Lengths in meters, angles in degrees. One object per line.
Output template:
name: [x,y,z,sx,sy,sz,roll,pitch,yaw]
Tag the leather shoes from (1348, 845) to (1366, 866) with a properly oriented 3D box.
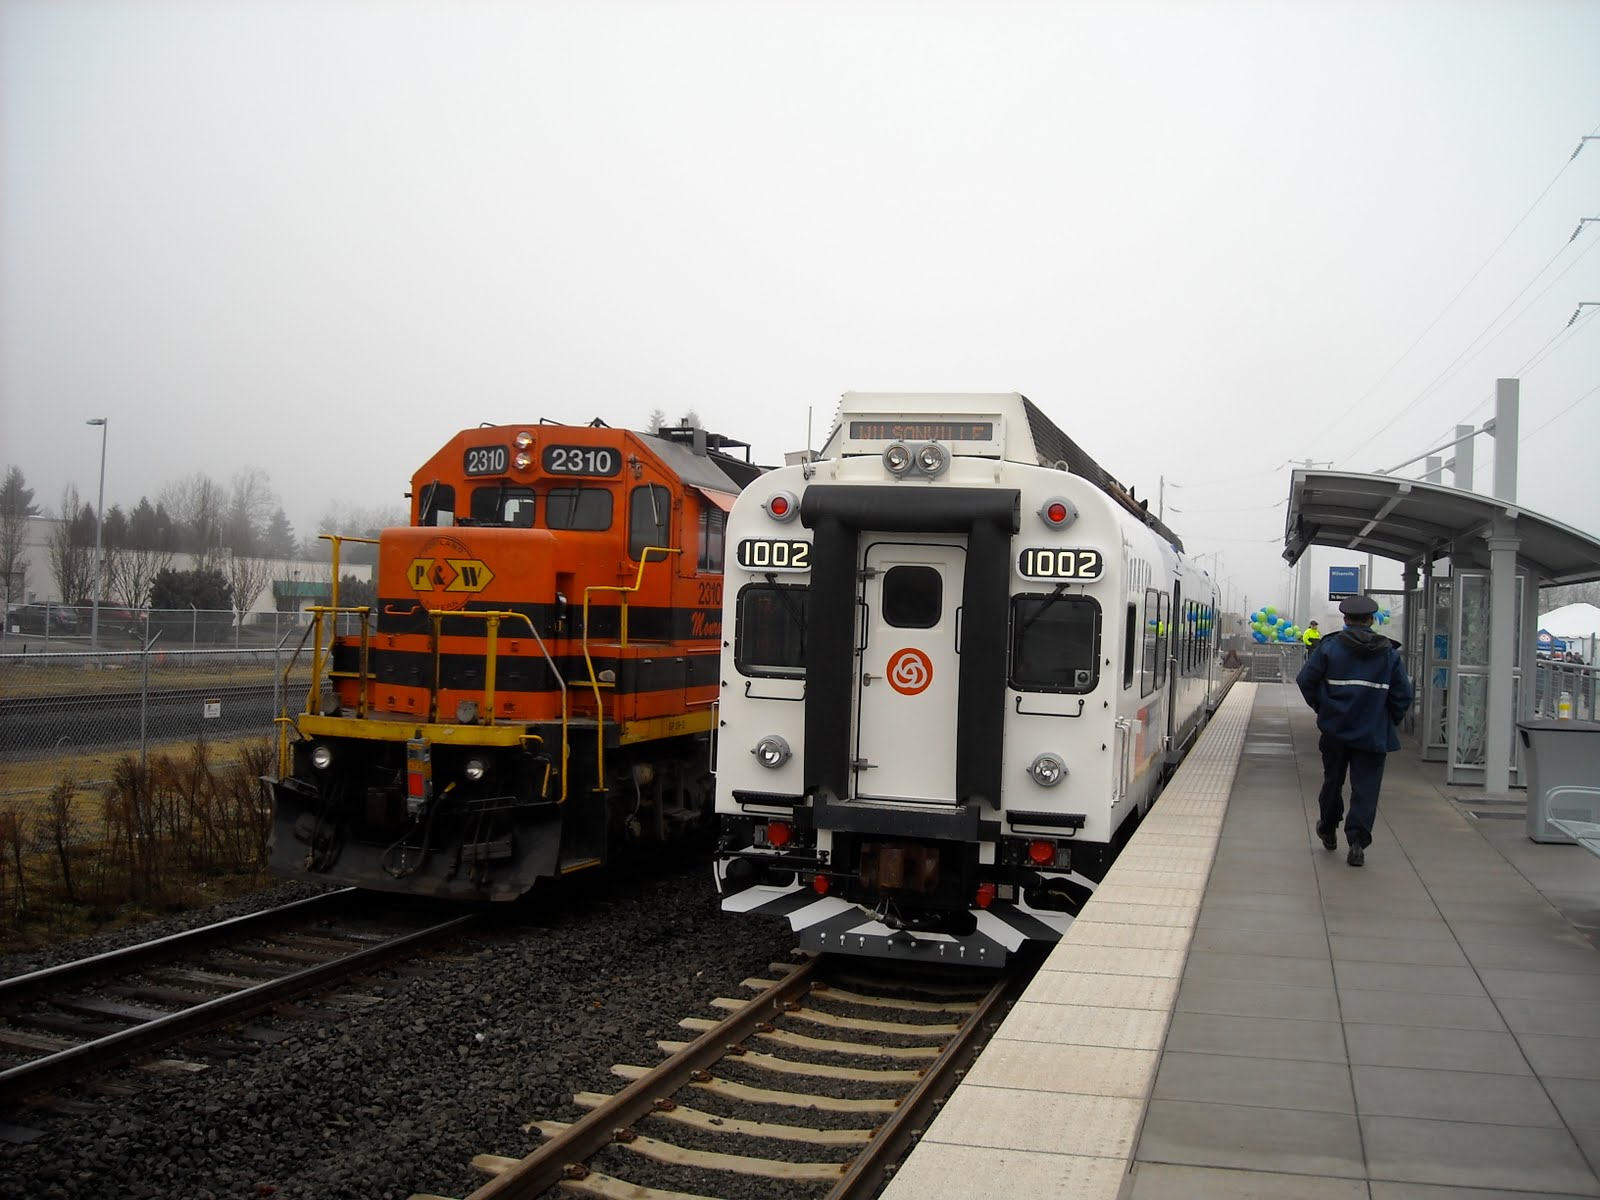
leather shoes: [4.876,2.229,9.770,0.081,0.124,0.262,2,7,21]
